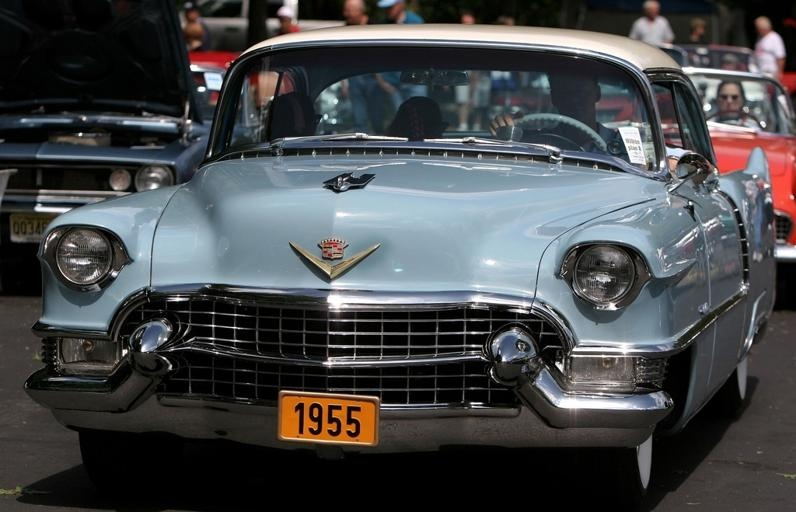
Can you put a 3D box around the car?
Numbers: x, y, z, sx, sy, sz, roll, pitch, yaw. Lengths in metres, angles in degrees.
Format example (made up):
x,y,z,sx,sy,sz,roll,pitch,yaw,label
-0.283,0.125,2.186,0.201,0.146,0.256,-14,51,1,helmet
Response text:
x,y,z,sx,sy,sz,roll,pitch,yaw,label
0.504,-0.181,5.698,2.333,1.392,3.749,0,2,16,car
